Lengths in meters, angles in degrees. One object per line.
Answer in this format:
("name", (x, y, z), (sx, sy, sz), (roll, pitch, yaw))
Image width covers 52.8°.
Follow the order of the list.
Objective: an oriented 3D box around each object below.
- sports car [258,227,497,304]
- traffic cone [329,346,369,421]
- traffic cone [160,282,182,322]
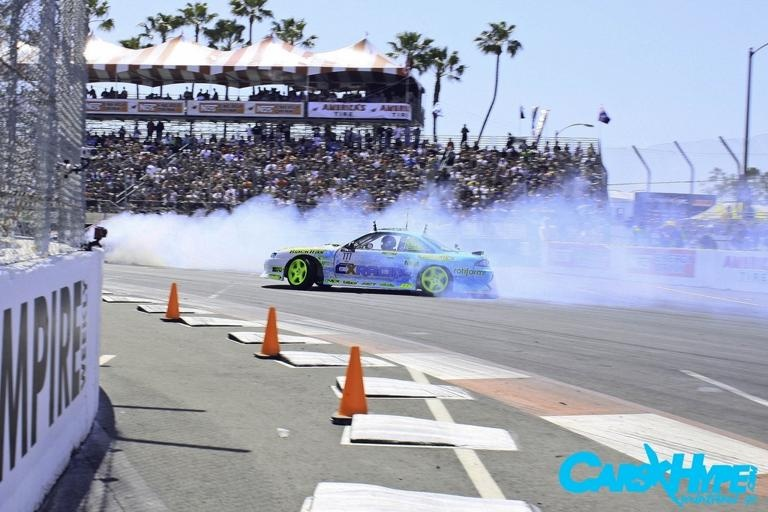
("sports car", (0.004, 0.129, 17.700), (4.845, 1.474, 0.650), (1, 4, 4))
("traffic cone", (-0.313, 1.212, 7.467), (0.334, 0.700, 0.551), (1, 4, -2))
("traffic cone", (-3.481, 0.730, 12.805), (0.269, 0.596, 0.880), (0, 3, -15))
